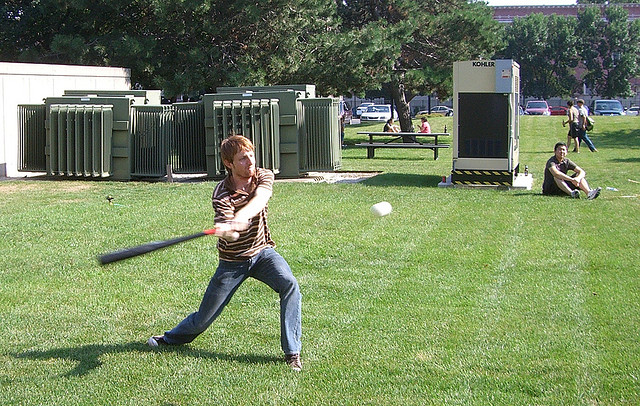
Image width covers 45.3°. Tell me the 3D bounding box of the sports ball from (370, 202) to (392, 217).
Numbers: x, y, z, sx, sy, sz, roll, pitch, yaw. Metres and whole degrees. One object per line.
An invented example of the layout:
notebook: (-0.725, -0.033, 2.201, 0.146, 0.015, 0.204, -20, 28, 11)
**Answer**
sports ball: (1.441, 0.171, 18.123, 0.280, 0.210, 0.512, -2, 1, 23)
